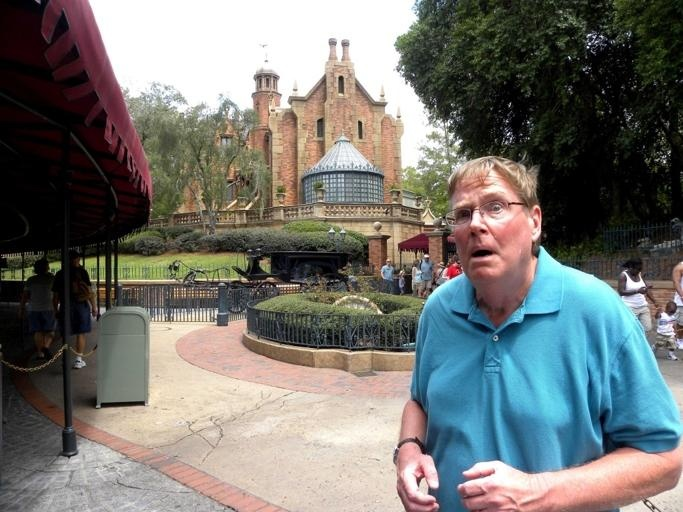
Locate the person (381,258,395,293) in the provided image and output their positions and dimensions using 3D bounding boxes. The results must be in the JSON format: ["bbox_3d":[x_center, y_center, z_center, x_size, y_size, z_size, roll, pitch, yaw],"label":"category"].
[{"bbox_3d":[1.815,0.805,23.939,0.352,1.254,0.960,0,4,-2],"label":"person"}]

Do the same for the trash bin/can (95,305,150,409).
[{"bbox_3d":[-3.070,1.267,8.823,0.763,1.403,0.765,2,11,-9],"label":"trash bin/can"}]

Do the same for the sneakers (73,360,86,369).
[{"bbox_3d":[-4.620,1.910,10.780,0.090,0.180,0.245,0,4,8],"label":"sneakers"}]

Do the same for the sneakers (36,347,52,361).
[{"bbox_3d":[-5.402,1.782,11.133,0.180,0.241,0.534,1,-1,-21],"label":"sneakers"}]

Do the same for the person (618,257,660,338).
[{"bbox_3d":[5.239,0.849,10.819,0.541,1.666,0.518,-10,14,4],"label":"person"}]

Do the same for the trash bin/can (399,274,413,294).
[{"bbox_3d":[3.147,1.336,28.843,0.821,0.897,0.781,-4,-6,38],"label":"trash bin/can"}]

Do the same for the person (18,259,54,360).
[{"bbox_3d":[-5.449,0.983,11.056,0.491,1.836,0.697,-2,4,-27],"label":"person"}]
